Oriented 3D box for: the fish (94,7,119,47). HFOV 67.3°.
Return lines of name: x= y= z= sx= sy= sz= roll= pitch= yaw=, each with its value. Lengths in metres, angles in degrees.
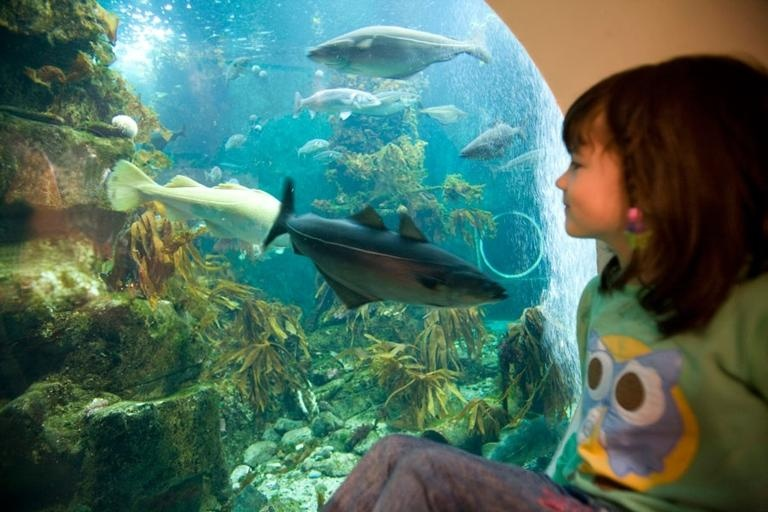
fish: x=-4.712 y=-3.933 z=9.849 sx=0.228 sy=0.531 sz=0.777 roll=2 pitch=-3 yaw=-6
